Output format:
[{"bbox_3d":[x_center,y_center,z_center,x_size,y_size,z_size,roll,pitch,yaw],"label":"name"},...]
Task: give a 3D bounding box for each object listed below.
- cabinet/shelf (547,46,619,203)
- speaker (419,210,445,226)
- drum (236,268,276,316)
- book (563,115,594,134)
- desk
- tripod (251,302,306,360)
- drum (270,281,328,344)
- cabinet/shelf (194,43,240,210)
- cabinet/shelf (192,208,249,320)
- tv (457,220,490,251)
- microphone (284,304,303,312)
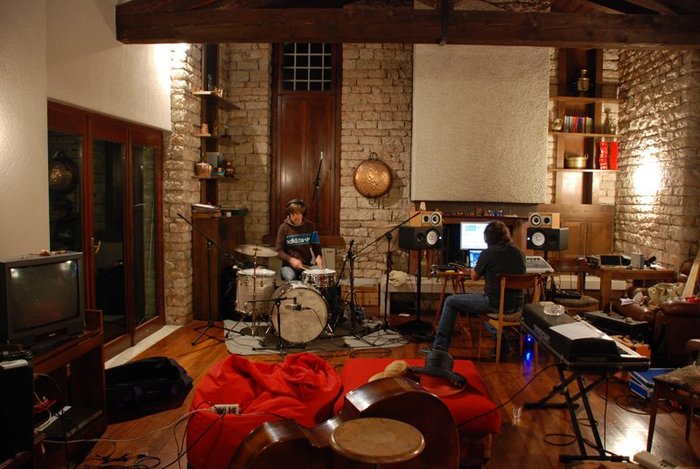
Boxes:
[{"bbox_3d":[3.693,-1.707,8.802,1.088,2.462,0.471,0,6,10],"label":"cabinet/shelf"},{"bbox_3d":[1.094,-0.245,7.605,0.387,0.243,0.200,2,9,10],"label":"speaker"},{"bbox_3d":[-1.133,0.706,7.013,0.598,0.517,0.566,1,7,-5],"label":"drum"},{"bbox_3d":[3.588,-1.727,8.767,0.468,0.241,0.111,-2,6,-11],"label":"book"},{"bbox_3d":[3.674,0.529,7.551,0.917,0.805,0.860,-1,6,-5],"label":"desk"},{"bbox_3d":[-0.872,1.108,6.600,0.725,0.694,0.527,4,2,-2],"label":"tripod"},{"bbox_3d":[-0.596,0.903,6.499,0.732,0.664,0.448,-4,13,-16],"label":"drum"},{"bbox_3d":[-1.936,-1.595,7.999,0.379,2.356,0.997,-1,6,4],"label":"cabinet/shelf"},{"bbox_3d":[-1.796,0.434,7.550,0.551,1.362,1.575,1,-3,6],"label":"cabinet/shelf"},{"bbox_3d":[1.704,0.010,7.596,0.500,0.381,0.156,0,2,2],"label":"tv"},{"bbox_3d":[-0.649,0.842,6.434,0.139,0.053,0.085,-4,14,-17],"label":"microphone"}]
